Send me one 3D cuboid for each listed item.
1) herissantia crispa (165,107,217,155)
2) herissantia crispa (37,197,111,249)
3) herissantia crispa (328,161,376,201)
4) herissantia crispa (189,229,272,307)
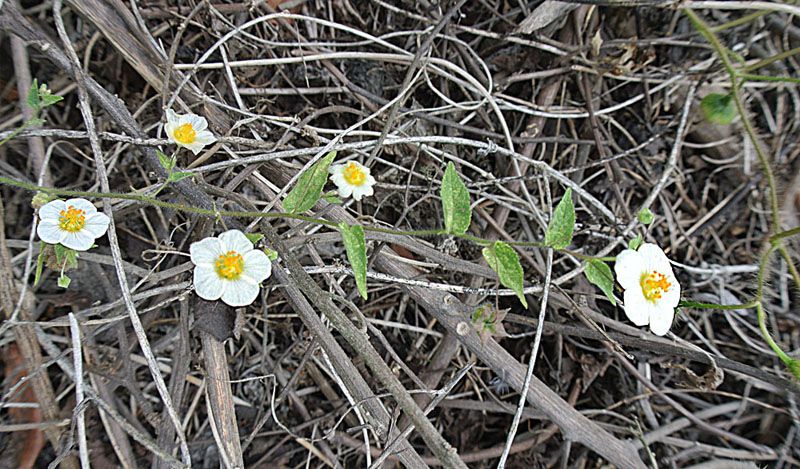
[{"bbox_3d":[-0.766,-0.351,2.082,0.166,0.076,0.163,28,53,-30],"label":"herissantia crispa"},{"bbox_3d":[-1.113,-0.039,1.953,0.224,0.084,0.176,6,82,1],"label":"herissantia crispa"},{"bbox_3d":[-0.183,-0.179,2.065,0.145,0.070,0.141,27,72,-13],"label":"herissantia crispa"},{"bbox_3d":[-0.581,0.101,1.942,0.266,0.254,0.092,1,104,35],"label":"herissantia crispa"}]
